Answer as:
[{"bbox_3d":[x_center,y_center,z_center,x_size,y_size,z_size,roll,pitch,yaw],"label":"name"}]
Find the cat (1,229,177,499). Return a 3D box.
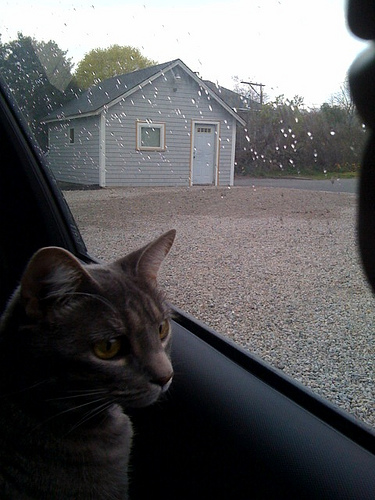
[{"bbox_3d":[-0.208,0.280,0.813,0.421,0.632,0.252,-3,13,-15],"label":"cat"}]
